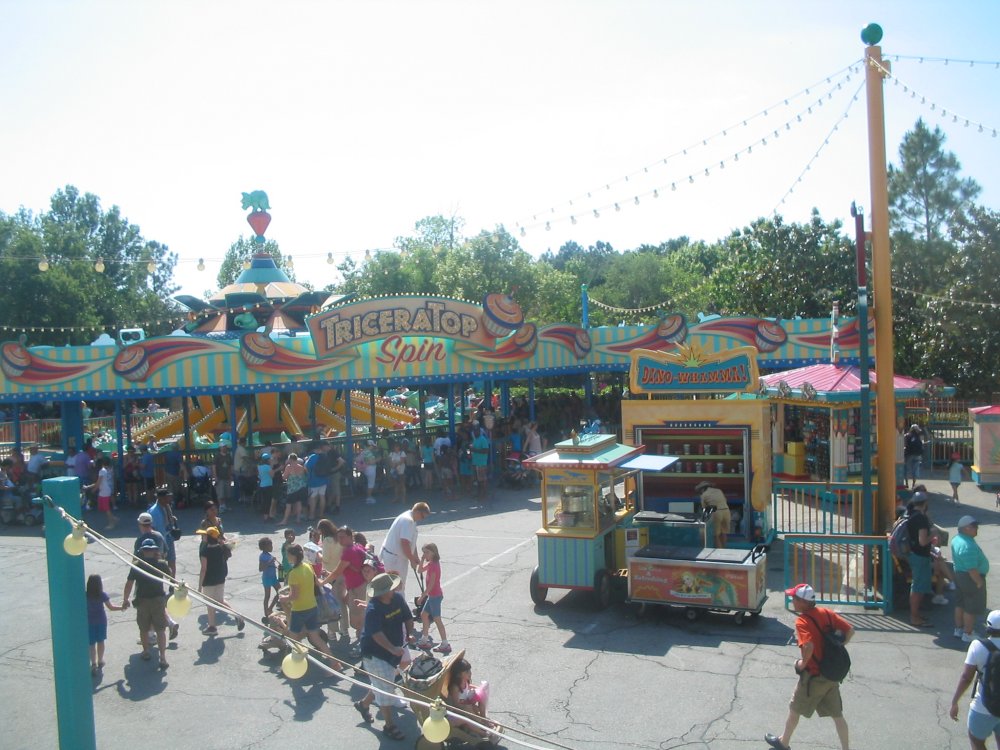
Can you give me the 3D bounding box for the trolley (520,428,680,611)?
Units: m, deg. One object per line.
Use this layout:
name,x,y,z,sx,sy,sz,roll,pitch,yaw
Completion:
trolley,1.636,2.313,17.583,2.328,2.756,2.722,1,3,25

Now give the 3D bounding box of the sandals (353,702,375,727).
sandals,-1.750,4.374,13.381,0.156,0.407,0.138,-13,-3,10

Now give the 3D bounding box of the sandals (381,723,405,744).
sandals,-1.318,4.497,13.053,0.153,0.134,0.291,-3,-1,-44

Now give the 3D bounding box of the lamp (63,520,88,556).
lamp,-4.695,1.805,11.463,0.189,0.188,0.403,-42,-7,-43

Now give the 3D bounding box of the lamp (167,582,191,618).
lamp,-3.557,2.533,11.538,0.205,0.459,0.759,1,-4,-17

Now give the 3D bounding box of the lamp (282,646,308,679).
lamp,-2.205,3.118,11.224,0.228,0.325,0.291,1,-3,-13

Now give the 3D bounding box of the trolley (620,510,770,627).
trolley,3.172,3.045,16.441,1.549,1.135,1.643,1,4,22

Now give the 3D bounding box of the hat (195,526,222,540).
hat,-4.393,2.393,15.666,0.244,0.129,0.172,2,3,10

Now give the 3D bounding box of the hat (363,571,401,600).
hat,-1.452,2.656,13.193,0.319,0.299,0.720,0,-4,0

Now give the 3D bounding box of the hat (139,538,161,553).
hat,-4.858,2.390,14.441,0.196,0.075,0.206,1,-2,37

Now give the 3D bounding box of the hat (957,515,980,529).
hat,6.754,2.148,14.918,0.261,0.163,0.196,-20,10,-25
